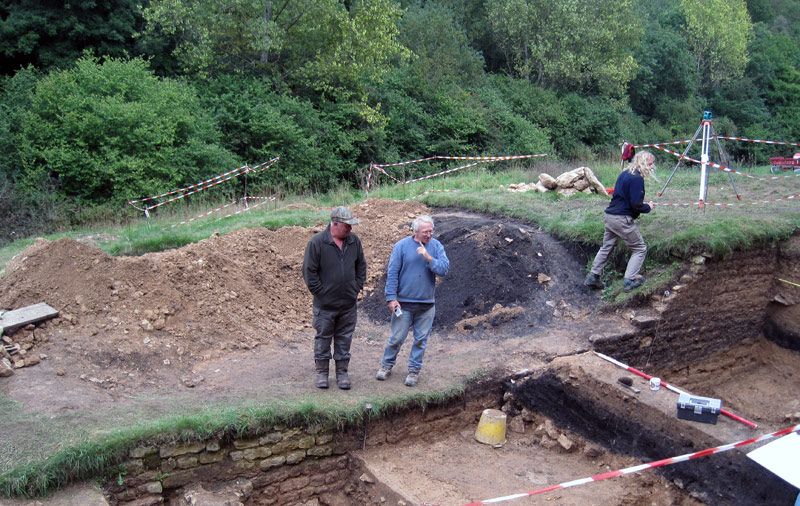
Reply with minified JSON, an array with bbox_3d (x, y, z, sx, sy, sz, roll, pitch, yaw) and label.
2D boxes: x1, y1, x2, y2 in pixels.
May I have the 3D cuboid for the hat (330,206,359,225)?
[{"bbox_3d":[-1.076,-0.719,12.585,0.414,0.225,0.315,1,19,-2],"label":"hat"}]

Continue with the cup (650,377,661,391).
[{"bbox_3d":[5.039,2.581,13.105,0.218,0.237,0.232,1,-6,0],"label":"cup"}]

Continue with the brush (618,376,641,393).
[{"bbox_3d":[4.534,2.584,13.125,0.261,0.155,0.342,-23,42,-38],"label":"brush"}]

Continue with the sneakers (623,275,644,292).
[{"bbox_3d":[5.235,0.601,14.670,0.569,0.262,0.189,-28,25,-22],"label":"sneakers"}]
